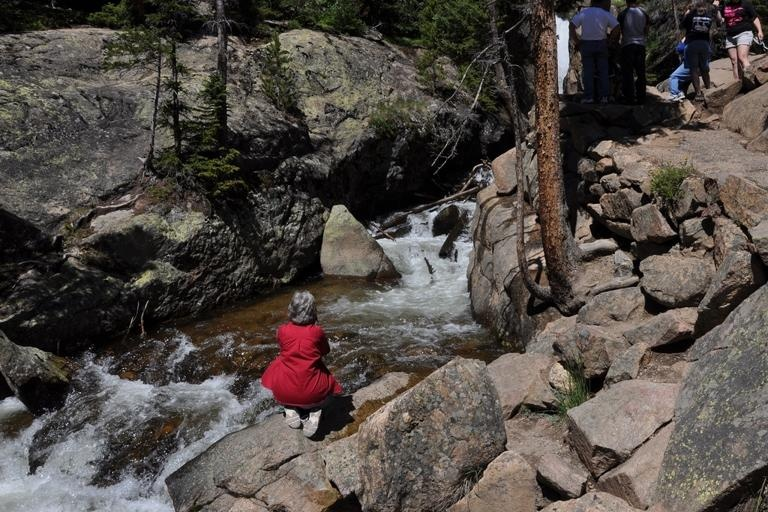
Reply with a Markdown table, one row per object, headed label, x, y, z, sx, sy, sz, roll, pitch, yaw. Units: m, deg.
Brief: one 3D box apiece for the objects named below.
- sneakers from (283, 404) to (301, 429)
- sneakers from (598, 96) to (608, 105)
| label | x | y | z | sx | sy | sz | roll | pitch | yaw |
| --- | --- | --- | --- | --- | --- | --- | --- | --- | --- |
| sneakers | -1.749 | 3.054 | 10.650 | 0.244 | 0.469 | 0.179 | -24 | 1 | 0 |
| sneakers | 5.759 | -4.070 | 14.439 | 0.179 | 0.097 | 0.261 | 5 | 41 | 13 |
